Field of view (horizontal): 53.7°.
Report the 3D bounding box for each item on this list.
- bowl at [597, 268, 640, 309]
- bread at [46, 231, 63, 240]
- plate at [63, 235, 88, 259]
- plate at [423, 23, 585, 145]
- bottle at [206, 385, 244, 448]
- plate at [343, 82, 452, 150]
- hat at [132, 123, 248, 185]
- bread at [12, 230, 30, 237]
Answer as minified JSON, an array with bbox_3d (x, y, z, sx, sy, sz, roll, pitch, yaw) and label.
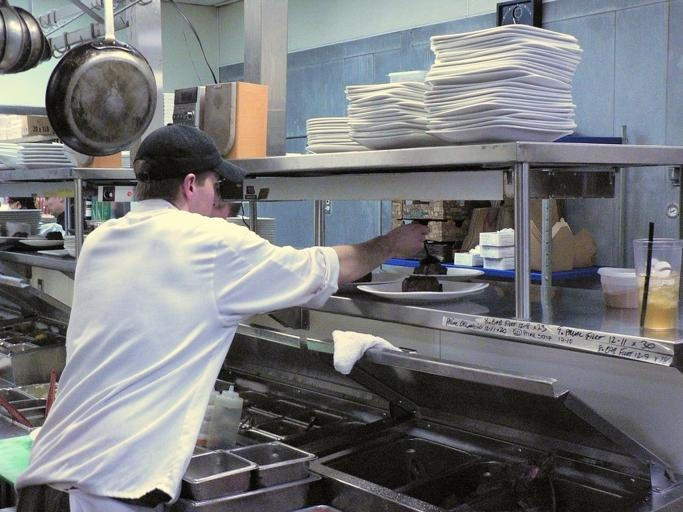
[{"bbox_3d":[0.889,0.049,2.132,0.171,0.121,0.133,-1,18,16],"label":"bowl"},{"bbox_3d":[-1.928,-0.185,4.537,0.100,0.074,0.102,-1,0,18],"label":"bread"},{"bbox_3d":[-1.309,-0.085,3.302,0.136,0.078,0.136,2,3,-39],"label":"plate"},{"bbox_3d":[0.447,-0.394,1.893,0.335,0.280,0.374,1,5,19],"label":"plate"},{"bbox_3d":[-0.419,0.516,2.436,0.099,0.236,0.101,11,4,-1],"label":"bottle"},{"bbox_3d":[0.144,-0.407,2.061,0.239,0.133,0.195,-4,4,-43],"label":"plate"},{"bbox_3d":[-0.508,-0.340,2.216,0.347,0.193,0.242,-9,8,-42],"label":"hat"},{"bbox_3d":[-2.328,-0.214,4.878,0.058,0.041,0.058,3,3,-7],"label":"bread"}]
